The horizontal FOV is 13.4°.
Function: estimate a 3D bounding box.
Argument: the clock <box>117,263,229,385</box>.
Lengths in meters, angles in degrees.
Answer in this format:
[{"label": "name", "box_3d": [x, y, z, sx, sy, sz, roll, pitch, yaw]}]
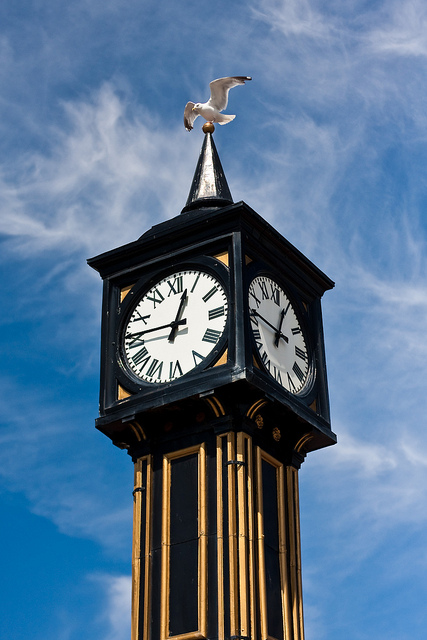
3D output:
[{"label": "clock", "box_3d": [-0.746, 0.136, 39.232, 1.945, 1.994, 0.127, 39, -5, 36]}]
